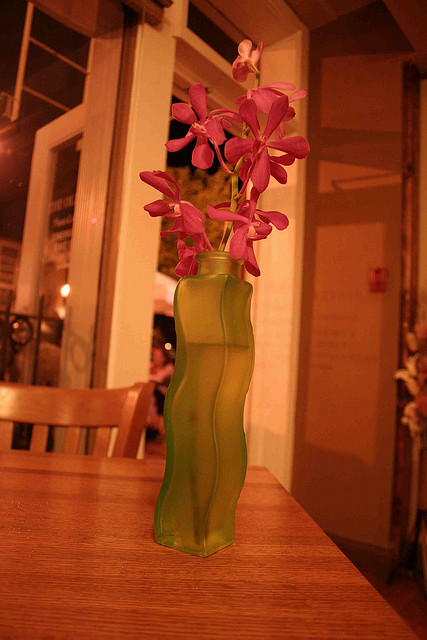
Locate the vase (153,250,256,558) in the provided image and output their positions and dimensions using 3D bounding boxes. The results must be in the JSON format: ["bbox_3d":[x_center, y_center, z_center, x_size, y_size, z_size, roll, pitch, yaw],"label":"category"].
[{"bbox_3d":[-0.006,0.068,0.417,0.071,0.207,0.052,2,-3,-1],"label":"vase"}]
